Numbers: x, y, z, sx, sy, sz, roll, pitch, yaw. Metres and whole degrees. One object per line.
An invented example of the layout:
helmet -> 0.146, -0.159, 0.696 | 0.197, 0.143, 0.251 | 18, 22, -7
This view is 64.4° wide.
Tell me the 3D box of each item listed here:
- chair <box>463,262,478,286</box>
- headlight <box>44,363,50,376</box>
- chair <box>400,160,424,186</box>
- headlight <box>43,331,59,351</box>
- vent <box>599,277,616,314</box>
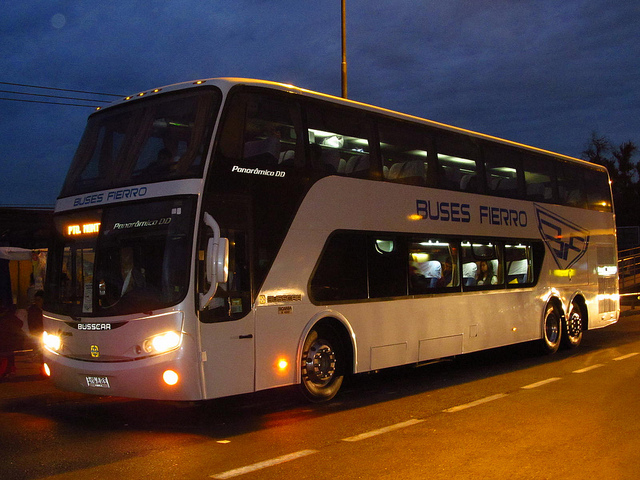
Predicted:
chair -> 3.258, 0.748, 11.090 | 0.379, 0.602, 0.298 | -5, -13, 35
headlight -> -4.102, 1.951, 7.656 | 0.032, 0.167, 0.152 | -4, -6, -3
chair -> 1.781, -1.305, 9.955 | 0.422, 0.467, 0.247 | 5, -14, -22
headlight -> -4.026, 1.524, 7.638 | 0.232, 0.272, 0.063 | 6, 4, 38
vent -> 8.879, 1.715, 15.774 | 0.516, 1.105, 0.998 | -3, -5, 39
